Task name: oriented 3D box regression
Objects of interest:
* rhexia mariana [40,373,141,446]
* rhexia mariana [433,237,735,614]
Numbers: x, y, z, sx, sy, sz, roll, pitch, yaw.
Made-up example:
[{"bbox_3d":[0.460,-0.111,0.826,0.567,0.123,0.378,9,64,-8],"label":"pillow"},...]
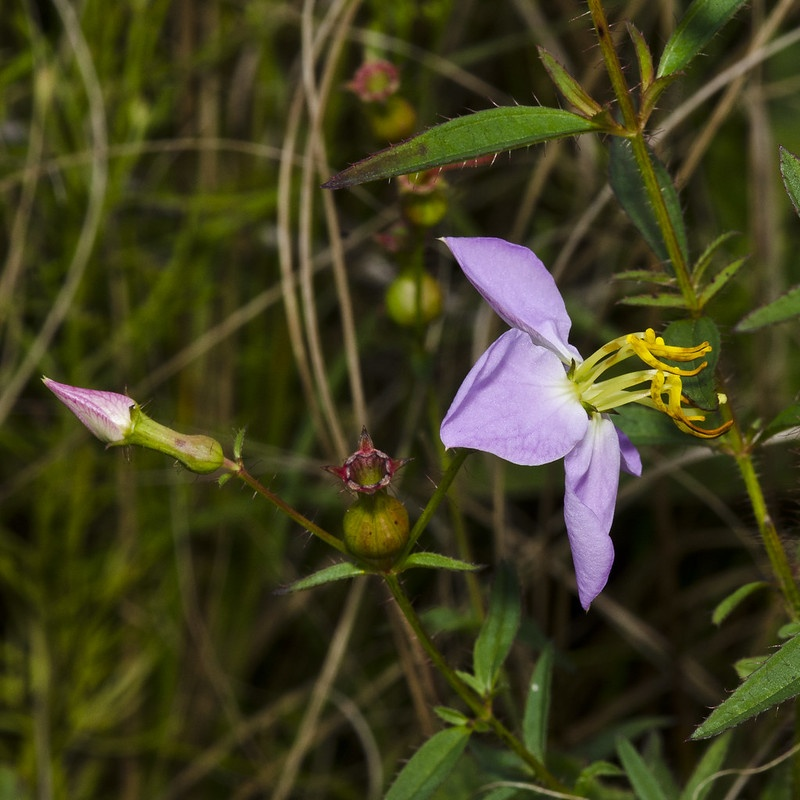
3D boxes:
[{"bbox_3d":[-0.585,0.022,1.952,0.095,0.211,0.075,-53,13,6],"label":"rhexia mariana"},{"bbox_3d":[0.296,0.077,1.991,0.389,0.645,0.624,-8,67,32],"label":"rhexia mariana"}]
